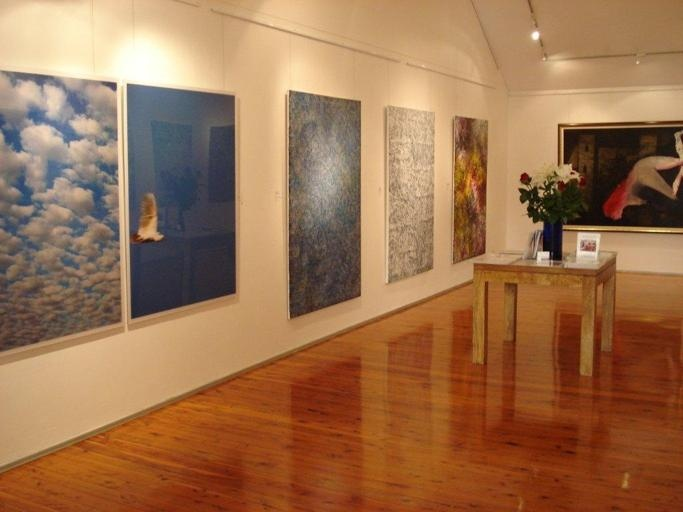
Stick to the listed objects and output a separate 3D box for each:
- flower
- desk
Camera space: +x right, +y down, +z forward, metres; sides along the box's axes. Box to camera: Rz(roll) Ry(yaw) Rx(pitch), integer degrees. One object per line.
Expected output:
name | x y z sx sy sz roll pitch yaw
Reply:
flower | 2.362 -0.689 5.813 0.759 0.820 0.798 -2 6 2
desk | 2.232 0.320 5.581 1.344 1.224 1.413 4 9 33
